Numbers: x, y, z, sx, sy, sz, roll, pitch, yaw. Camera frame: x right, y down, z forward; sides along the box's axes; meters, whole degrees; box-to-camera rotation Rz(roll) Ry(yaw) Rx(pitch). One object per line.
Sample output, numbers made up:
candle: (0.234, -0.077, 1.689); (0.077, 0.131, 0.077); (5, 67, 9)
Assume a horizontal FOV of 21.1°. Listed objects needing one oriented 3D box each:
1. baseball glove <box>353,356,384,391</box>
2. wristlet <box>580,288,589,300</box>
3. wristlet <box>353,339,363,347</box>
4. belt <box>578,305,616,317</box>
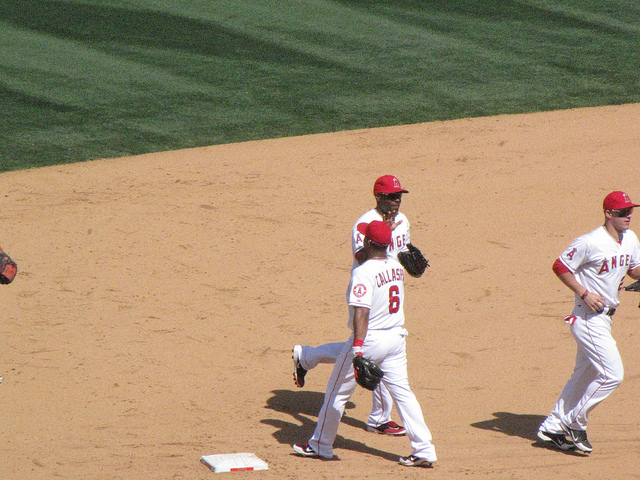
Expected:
baseball glove: (0.778, 2.190, 28.492); (0.535, 0.524, 0.304); (10, 11, 2)
wristlet: (4.381, 0.913, 28.895); (0.120, 0.154, 0.080); (6, 13, -24)
wristlet: (0.642, 1.703, 28.497); (0.136, 0.119, 0.072); (8, 12, -9)
belt: (4.653, 1.204, 28.986); (0.380, 0.108, 0.248); (23, 12, 9)
